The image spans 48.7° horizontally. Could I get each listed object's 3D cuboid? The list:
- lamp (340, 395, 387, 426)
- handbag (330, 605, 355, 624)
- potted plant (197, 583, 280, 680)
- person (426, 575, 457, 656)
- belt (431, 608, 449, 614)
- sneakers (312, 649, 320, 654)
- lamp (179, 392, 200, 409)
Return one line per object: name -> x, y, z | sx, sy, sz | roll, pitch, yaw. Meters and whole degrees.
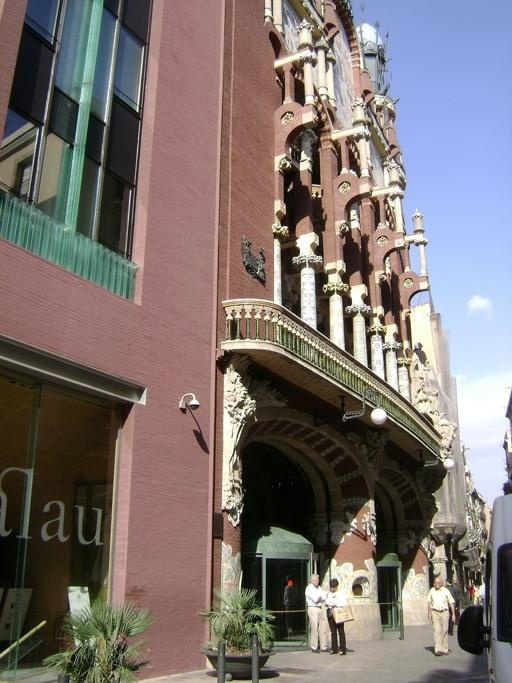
lamp -> 3.106, 2.157, 16.664 | 1.143, 0.885, 2.300 | -5, -19, 7
handbag -> 1.944, 6.208, 12.801 | 0.362, 0.434, 0.596 | -1, -19, -4
potted plant -> -0.290, 4.618, 8.889 | 1.088, 1.265, 2.656 | -2, -19, -1
person -> 4.234, 6.263, 12.885 | 0.540, 1.705, 0.939 | -7, -19, 15
belt -> 4.167, 6.101, 12.788 | 0.208, 0.056, 0.224 | 8, -19, -21
sneakers -> 1.437, 7.496, 13.672 | 0.073, 0.095, 0.198 | 17, -31, -40
lamp -> -1.232, 1.160, 10.969 | 0.385, 0.378, 0.239 | -14, -24, 28
